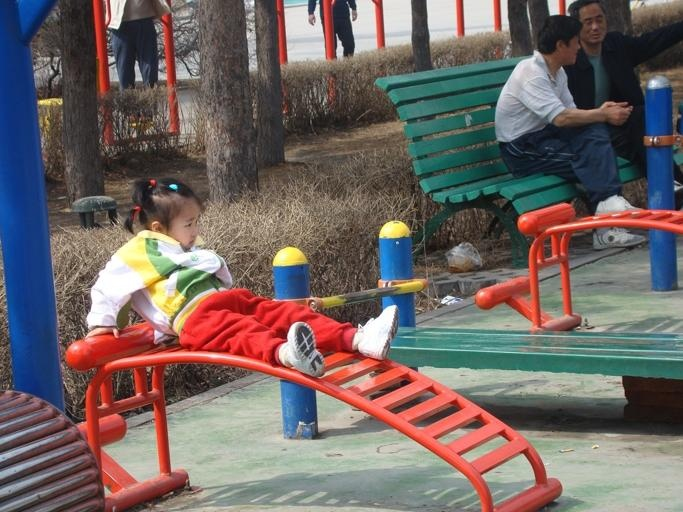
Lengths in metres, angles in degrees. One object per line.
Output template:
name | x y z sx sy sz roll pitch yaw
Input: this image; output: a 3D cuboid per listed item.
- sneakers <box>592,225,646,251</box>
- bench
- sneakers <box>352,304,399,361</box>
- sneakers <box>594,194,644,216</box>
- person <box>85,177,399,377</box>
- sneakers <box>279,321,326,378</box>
sneakers | 2.348 -0.146 7.587 0.470 0.191 0.198 -1 10 25
bench | 1.922 -1.008 8.775 1.517 1.615 3.343 16 24 39
sneakers | 0.146 0.349 3.924 0.217 0.232 0.133 -5 4 0
sneakers | 2.198 -0.415 7.058 0.213 0.132 0.381 -6 5 -20
person | -0.480 0.093 4.047 1.336 0.727 0.895 8 11 34
sneakers | -0.159 0.399 3.664 0.122 0.267 0.128 -6 28 46
